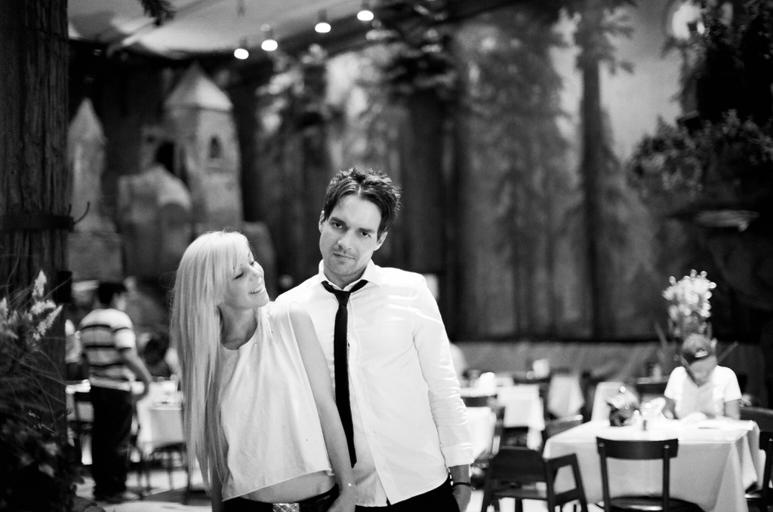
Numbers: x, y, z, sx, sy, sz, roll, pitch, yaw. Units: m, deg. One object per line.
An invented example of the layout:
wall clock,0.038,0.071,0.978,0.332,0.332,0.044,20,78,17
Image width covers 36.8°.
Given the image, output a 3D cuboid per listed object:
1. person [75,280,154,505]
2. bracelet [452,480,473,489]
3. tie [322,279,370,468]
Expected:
person,-1.897,0.879,8.019,0.407,1.489,1.164,0,-7,-12
bracelet,0.433,1.305,6.702,0.116,0.048,0.137,-2,-7,4
tie,-0.232,0.709,6.577,0.299,0.991,0.076,-4,-11,-5
